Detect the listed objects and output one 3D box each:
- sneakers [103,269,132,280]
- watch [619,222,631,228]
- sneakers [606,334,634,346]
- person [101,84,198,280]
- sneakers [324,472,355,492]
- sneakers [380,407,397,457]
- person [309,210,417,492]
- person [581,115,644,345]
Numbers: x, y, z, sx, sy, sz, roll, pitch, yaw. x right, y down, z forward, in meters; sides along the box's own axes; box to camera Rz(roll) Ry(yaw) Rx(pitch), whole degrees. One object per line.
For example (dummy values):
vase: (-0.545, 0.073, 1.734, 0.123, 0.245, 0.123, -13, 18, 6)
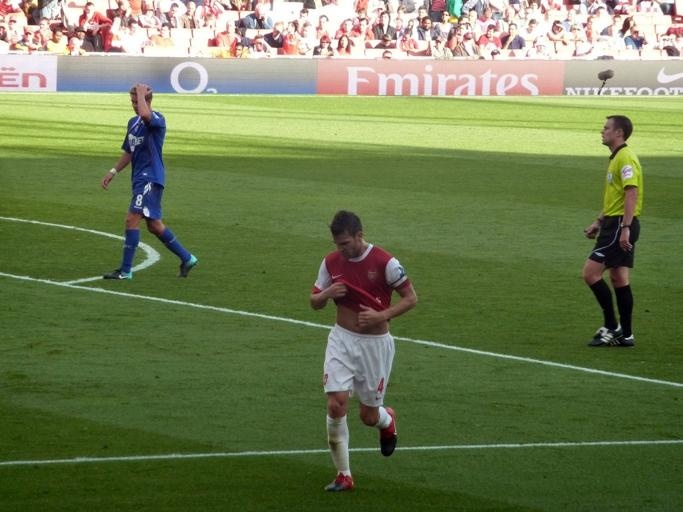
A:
sneakers: (-2.851, 0.234, 15.635, 0.368, 0.142, 0.127, 3, -2, -7)
watch: (3.166, -0.341, 13.818, 0.111, 0.063, 0.098, 1, 6, 7)
sneakers: (3.193, 0.957, 14.163, 0.333, 0.128, 0.113, 5, 0, -4)
person: (-2.533, -0.923, 15.672, 0.954, 2.435, 0.619, -6, 9, -42)
sneakers: (-0.016, 2.104, 11.613, 0.346, 0.138, 0.117, -2, 3, -21)
sneakers: (0.457, 1.677, 11.918, 0.169, 0.450, 0.205, 3, 18, 19)
person: (0.176, 0.868, 11.737, 0.868, 2.577, 0.584, -2, 7, -21)
person: (3.084, -0.268, 14.087, 0.596, 2.604, 0.528, 3, 7, 23)
